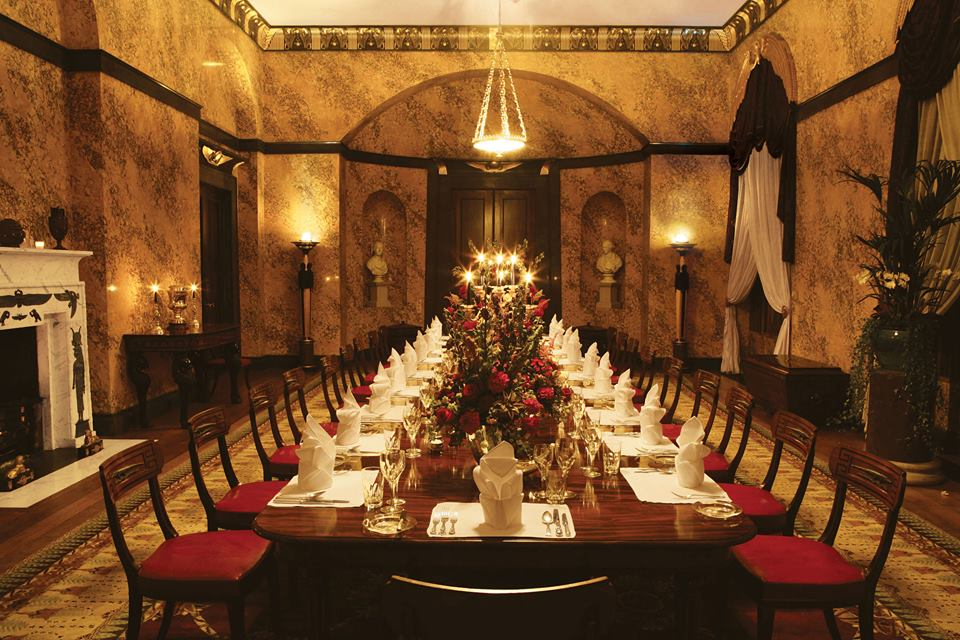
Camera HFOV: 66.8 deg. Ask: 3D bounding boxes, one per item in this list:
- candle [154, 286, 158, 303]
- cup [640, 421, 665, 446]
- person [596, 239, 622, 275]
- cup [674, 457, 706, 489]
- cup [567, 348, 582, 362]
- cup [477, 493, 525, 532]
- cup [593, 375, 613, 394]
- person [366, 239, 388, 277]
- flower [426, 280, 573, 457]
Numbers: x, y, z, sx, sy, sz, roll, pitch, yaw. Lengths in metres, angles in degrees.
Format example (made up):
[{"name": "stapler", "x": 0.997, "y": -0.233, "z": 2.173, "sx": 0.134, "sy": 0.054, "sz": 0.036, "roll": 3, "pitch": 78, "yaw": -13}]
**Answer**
[{"name": "candle", "x": -4.200, "y": -0.328, "z": 9.379, "sx": 0.068, "sy": 0.206, "sz": 0.136, "roll": 0, "pitch": 3, "yaw": -18}, {"name": "cup", "x": 1.303, "y": 0.872, "z": 5.503, "sx": 0.162, "sy": 0.164, "sz": 0.168, "roll": -1, "pitch": 3, "yaw": 0}, {"name": "person", "x": 2.591, "y": -1.235, "z": 14.589, "sx": 0.509, "sy": 0.726, "sz": 0.521, "roll": 1, "pitch": 3, "yaw": 11}, {"name": "cup", "x": 1.416, "y": 1.050, "z": 4.906, "sx": 0.180, "sy": 0.181, "sz": 0.183, "roll": 1, "pitch": -11, "yaw": 0}, {"name": "cup", "x": 1.172, "y": 0.442, "z": 8.991, "sx": 0.159, "sy": 0.268, "sz": 0.161, "roll": 0, "pitch": -2, "yaw": 0}, {"name": "cup", "x": 0.134, "y": 1.198, "z": 4.454, "sx": 0.211, "sy": 0.162, "sz": 0.221, "roll": 0, "pitch": -1, "yaw": 0}, {"name": "cup", "x": 1.190, "y": 0.630, "z": 7.067, "sx": 0.151, "sy": 0.161, "sz": 0.158, "roll": 0, "pitch": -5, "yaw": 0}, {"name": "person", "x": -2.085, "y": -1.185, "z": 14.681, "sx": 0.431, "sy": 0.764, "sz": 0.552, "roll": 0, "pitch": 3, "yaw": -7}, {"name": "flower", "x": 0.113, "y": 0.435, "z": 5.170, "sx": 0.692, "sy": 0.980, "sz": 0.748, "roll": 11, "pitch": 25, "yaw": 40}]
